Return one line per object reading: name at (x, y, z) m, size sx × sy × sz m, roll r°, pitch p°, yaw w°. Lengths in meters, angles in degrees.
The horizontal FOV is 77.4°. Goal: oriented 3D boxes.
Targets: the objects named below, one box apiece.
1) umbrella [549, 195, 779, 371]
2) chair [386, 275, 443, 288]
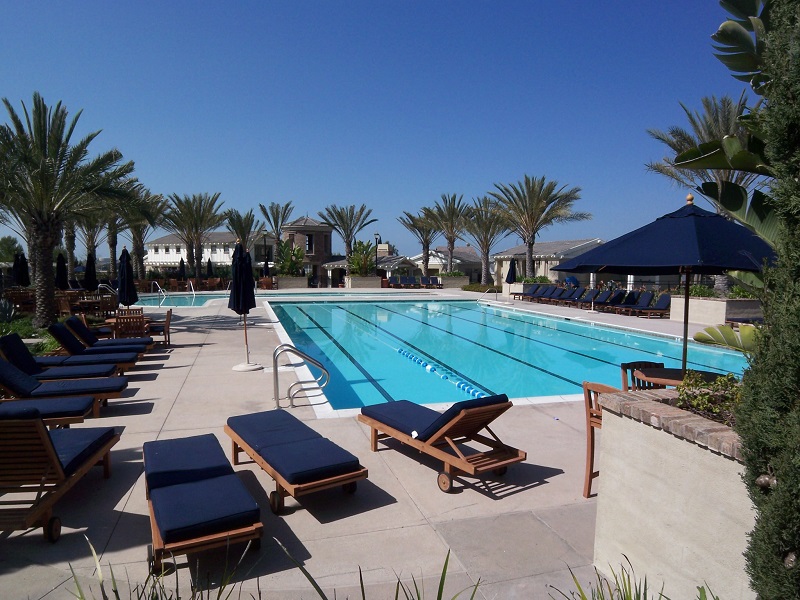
umbrella at (3.103, -0.159, 5.822) m, size 1.947 × 1.992 × 1.958 m, roll 4°, pitch 8°, yaw 37°
chair at (1.121, -1.336, 39.645) m, size 4.408 × 0.912 × 1.363 m, roll -1°, pitch 6°, yaw -5°
